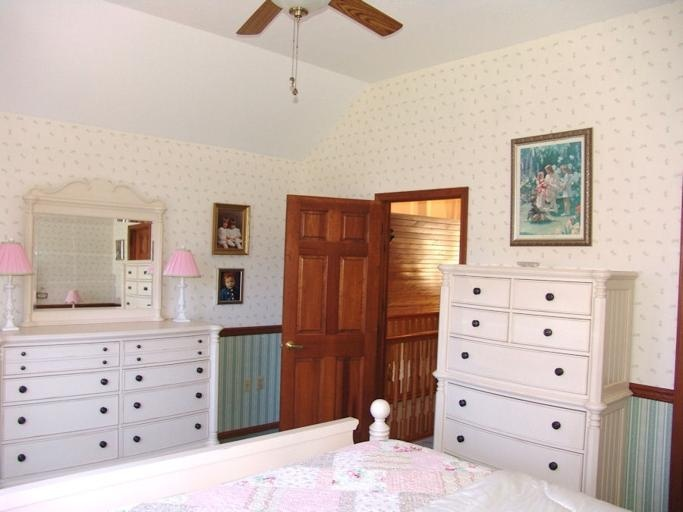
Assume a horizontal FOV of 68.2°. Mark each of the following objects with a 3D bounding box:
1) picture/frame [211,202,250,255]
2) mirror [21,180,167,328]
[{"bbox_3d":[-1.213,-0.305,5.427,0.577,0.754,0.076,0,0,-41],"label":"picture/frame"},{"bbox_3d":[-2.335,-0.017,4.660,1.375,1.554,0.182,-1,3,-35],"label":"mirror"}]
